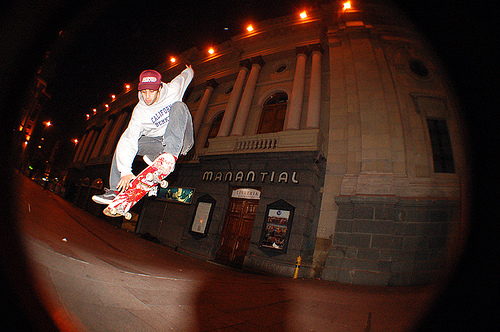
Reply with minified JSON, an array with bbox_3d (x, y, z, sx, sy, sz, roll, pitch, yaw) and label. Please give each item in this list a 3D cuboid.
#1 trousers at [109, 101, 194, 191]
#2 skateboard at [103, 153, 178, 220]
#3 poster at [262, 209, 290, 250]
[{"bbox_3d":[-1.214,-0.288,3.304,0.931,1.244,0.772,-7,-52,8],"label":"trousers"},{"bbox_3d":[-1.174,0.114,3.124,0.168,1.012,0.358,21,-30,42],"label":"skateboard"},{"bbox_3d":[0.834,1.924,8.567,0.897,1.399,0.109,4,-21,24],"label":"poster"}]
